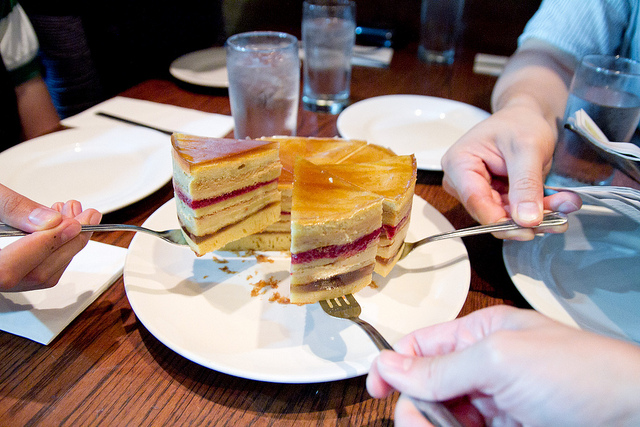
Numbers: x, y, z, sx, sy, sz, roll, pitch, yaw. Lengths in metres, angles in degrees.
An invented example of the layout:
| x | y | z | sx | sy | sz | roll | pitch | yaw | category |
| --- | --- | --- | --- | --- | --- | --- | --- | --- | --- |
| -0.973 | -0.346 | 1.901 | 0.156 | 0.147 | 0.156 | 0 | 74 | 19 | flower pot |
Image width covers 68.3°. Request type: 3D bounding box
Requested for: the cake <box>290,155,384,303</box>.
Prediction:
| x | y | z | sx | sy | sz | roll | pitch | yaw | category |
| --- | --- | --- | --- | --- | --- | --- | --- | --- | --- |
| 0.048 | 0.096 | 2.077 | 0.389 | 0.401 | 0.560 | 5 | 28 | -6 | cake |

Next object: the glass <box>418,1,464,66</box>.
| x | y | z | sx | sy | sz | roll | pitch | yaw | category |
| --- | --- | --- | --- | --- | --- | --- | --- | --- | --- |
| 0.932 | -1.428 | 3.698 | 0.316 | 0.494 | 0.275 | 10 | 43 | 10 | glass |

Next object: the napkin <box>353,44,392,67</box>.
| x | y | z | sx | sy | sz | roll | pitch | yaw | category |
| --- | --- | --- | --- | --- | --- | --- | --- | --- | --- |
| 0.416 | -1.245 | 3.761 | 0.288 | 0.077 | 0.289 | 2 | 30 | 4 | napkin |

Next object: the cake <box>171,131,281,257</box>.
| x | y | z | sx | sy | sz | roll | pitch | yaw | category |
| --- | --- | --- | --- | --- | --- | --- | --- | --- | --- |
| -0.426 | -0.112 | 2.177 | 0.501 | 0.402 | 0.474 | -2 | 27 | -6 | cake |

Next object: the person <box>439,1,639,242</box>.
| x | y | z | sx | sy | sz | roll | pitch | yaw | category |
| --- | --- | --- | --- | --- | --- | --- | --- | --- | --- |
| 1.256 | -0.592 | 2.635 | 0.808 | 0.800 | 2.057 | 9 | 36 | 19 | person |
